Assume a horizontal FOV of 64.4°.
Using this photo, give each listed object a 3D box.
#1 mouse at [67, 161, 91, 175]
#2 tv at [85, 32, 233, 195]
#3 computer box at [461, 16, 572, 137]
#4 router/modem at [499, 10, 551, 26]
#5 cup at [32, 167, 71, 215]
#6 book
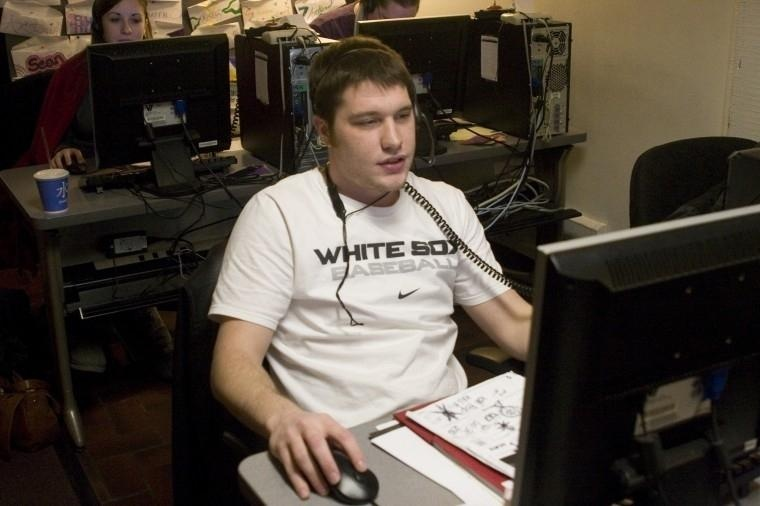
[{"bbox_3d":[-1.419,-0.403,2.851,0.090,0.031,0.060,3,11,-35],"label":"mouse"},{"bbox_3d":[-0.944,-0.584,2.603,0.713,0.680,0.231,-12,40,-28],"label":"tv"},{"bbox_3d":[0.723,-0.962,3.290,0.328,0.527,0.552,-15,25,-28],"label":"computer box"},{"bbox_3d":[0.730,-1.167,3.014,0.244,0.067,0.186,1,20,10],"label":"router/modem"},{"bbox_3d":[-1.244,-0.248,2.419,0.173,0.178,0.168,1,13,0],"label":"cup"},{"bbox_3d":[0.213,0.405,1.315,0.182,0.048,0.181,-18,33,-38],"label":"book"}]
